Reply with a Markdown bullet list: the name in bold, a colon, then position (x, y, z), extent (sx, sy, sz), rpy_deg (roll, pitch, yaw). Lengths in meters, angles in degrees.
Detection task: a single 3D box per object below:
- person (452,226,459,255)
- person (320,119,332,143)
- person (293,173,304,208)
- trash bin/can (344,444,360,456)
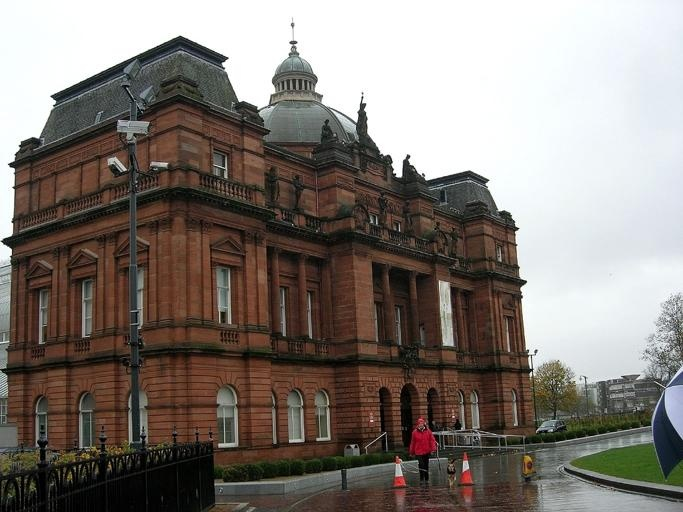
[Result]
- **person**: position (9.420, -1.184, 63.475), extent (0.539, 2.123, 1.482), rpy_deg (-7, -22, 5)
- **person**: position (-0.932, -8.575, 52.617), extent (0.661, 1.843, 0.908), rpy_deg (4, -23, -22)
- **person**: position (-2.760, -4.129, 49.880), extent (0.685, 2.850, 1.339), rpy_deg (-4, -22, -2)
- **trash bin/can**: position (0.675, 11.698, 46.308), extent (0.916, 0.725, 1.152), rpy_deg (-5, -21, 0)
